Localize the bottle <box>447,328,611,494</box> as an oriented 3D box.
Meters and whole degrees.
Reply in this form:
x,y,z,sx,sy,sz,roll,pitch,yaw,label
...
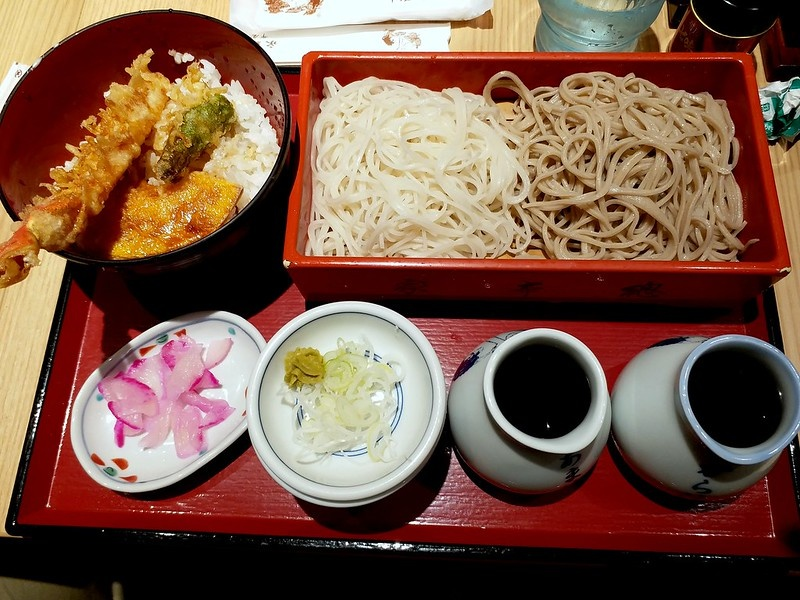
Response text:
x,y,z,sx,sy,sz,roll,pitch,yaw,label
0.340,0.294,1.871,0.413,0.462,0.448,-21,73,8,bottle

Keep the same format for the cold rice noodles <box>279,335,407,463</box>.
x,y,z,sx,sy,sz,roll,pitch,yaw,label
-0.172,0.307,1.904,0.331,0.097,0.338,-41,78,-12,cold rice noodles

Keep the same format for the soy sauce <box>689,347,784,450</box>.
x,y,z,sx,sy,sz,roll,pitch,yaw,label
0.873,0.255,1.682,0.207,0.076,0.247,3,76,1,soy sauce

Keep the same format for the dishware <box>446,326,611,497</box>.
x,y,z,sx,sy,sz,roll,pitch,yaw,label
0.341,0.300,1.870,0.416,0.463,0.446,-25,72,7,dishware
